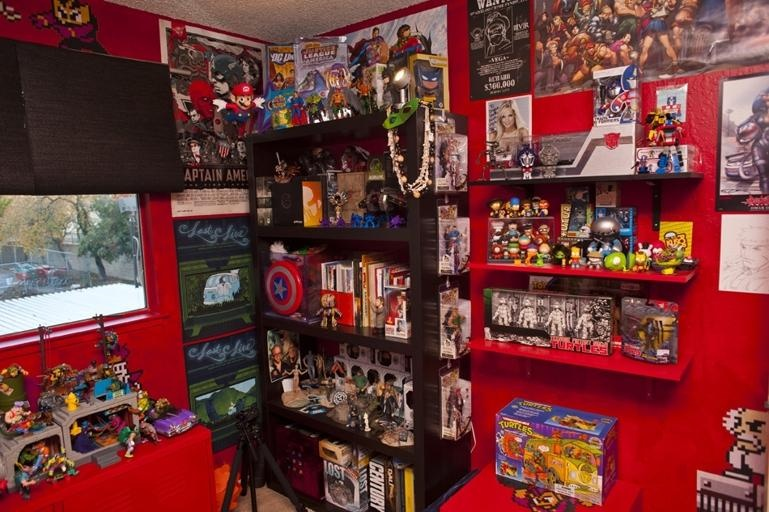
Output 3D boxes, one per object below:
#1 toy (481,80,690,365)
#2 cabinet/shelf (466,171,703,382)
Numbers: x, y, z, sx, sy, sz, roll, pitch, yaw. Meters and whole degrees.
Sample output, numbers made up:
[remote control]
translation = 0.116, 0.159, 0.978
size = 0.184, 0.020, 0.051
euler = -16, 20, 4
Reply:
[toy]
translation = 1.198, -0.216, 3.156
size = 1.052, 1.615, 0.361
euler = 0, 8, 26
[cabinet/shelf]
translation = 1.219, 0.108, 3.166
size = 1.327, 1.073, 0.404
euler = 4, 6, 32
